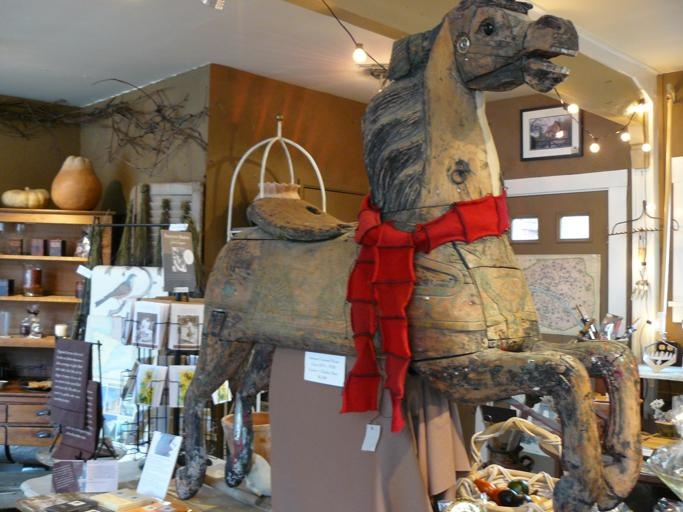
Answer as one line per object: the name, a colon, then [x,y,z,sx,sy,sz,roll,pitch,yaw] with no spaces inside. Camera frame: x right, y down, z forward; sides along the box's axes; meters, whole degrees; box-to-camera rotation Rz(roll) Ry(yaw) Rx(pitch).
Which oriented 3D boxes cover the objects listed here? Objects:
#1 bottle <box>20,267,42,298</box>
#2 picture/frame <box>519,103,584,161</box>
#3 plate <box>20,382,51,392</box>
bottle: [-2.949,0.235,5.212,0.166,0.297,0.343,5,-7,-29]
picture/frame: [2.058,-1.208,5.315,0.656,0.527,0.049,1,1,34]
plate: [-2.806,1.177,5.001,0.216,0.069,0.399,5,-7,-33]
